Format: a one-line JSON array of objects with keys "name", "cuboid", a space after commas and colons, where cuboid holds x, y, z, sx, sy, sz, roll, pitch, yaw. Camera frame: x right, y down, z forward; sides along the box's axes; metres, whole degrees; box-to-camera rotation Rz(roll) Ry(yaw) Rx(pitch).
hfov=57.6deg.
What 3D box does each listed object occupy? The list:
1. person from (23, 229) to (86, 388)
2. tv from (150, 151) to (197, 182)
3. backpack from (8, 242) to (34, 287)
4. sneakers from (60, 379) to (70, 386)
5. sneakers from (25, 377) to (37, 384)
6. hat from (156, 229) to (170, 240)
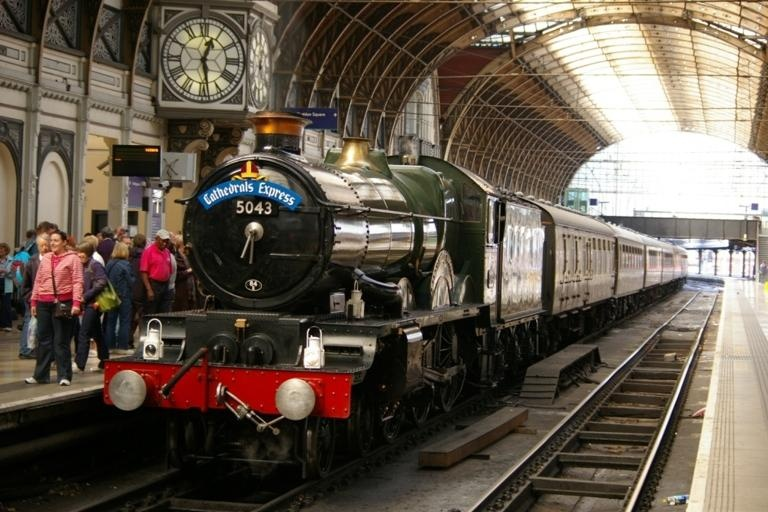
[{"name": "person", "cuboid": [-5.046, 0.777, 10.794, 0.949, 2.311, 0.655, 0, 1, 22]}, {"name": "tv", "cuboid": [-6.202, -2.666, 20.986, 1.464, 0.861, 1.042, 2, 3, 5]}, {"name": "backpack", "cuboid": [-7.638, 0.211, 14.689, 0.349, 0.973, 0.770, 9, 2, -4]}, {"name": "sneakers", "cuboid": [-4.741, 1.877, 10.383, 0.144, 0.097, 0.144, 0, 1, -33]}, {"name": "sneakers", "cuboid": [-5.385, 1.906, 10.650, 0.177, 0.071, 0.113, 7, -7, -35]}, {"name": "hat", "cuboid": [-4.226, -0.403, 13.384, 0.227, 0.170, 0.325, 3, -6, -24]}]
